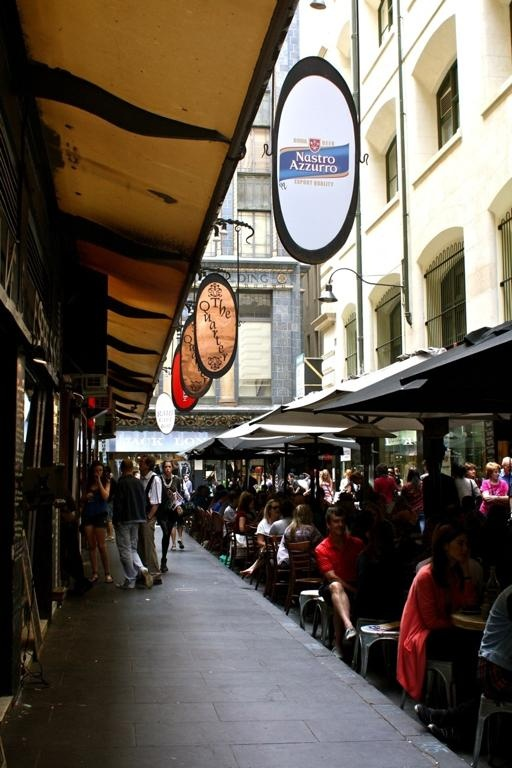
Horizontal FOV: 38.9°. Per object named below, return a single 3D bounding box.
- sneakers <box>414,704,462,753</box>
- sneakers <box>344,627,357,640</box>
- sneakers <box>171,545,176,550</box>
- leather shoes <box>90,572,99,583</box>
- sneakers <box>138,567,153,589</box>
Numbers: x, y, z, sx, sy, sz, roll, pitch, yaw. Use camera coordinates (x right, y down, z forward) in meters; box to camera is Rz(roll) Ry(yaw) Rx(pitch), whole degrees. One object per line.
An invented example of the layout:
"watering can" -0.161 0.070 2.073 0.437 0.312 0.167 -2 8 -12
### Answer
"sneakers" 1.081 2.001 4.303 0.150 0.174 0.492 2 -8 -16
"sneakers" 0.820 2.161 6.290 0.043 0.113 0.157 2 -38 -4
"sneakers" -2.150 4.292 18.925 0.095 0.202 0.176 1 -9 -4
"leather shoes" -2.545 3.030 11.332 0.100 0.173 0.389 0 -19 -4
"sneakers" -1.716 3.032 11.336 0.098 0.365 0.134 -18 22 -24
